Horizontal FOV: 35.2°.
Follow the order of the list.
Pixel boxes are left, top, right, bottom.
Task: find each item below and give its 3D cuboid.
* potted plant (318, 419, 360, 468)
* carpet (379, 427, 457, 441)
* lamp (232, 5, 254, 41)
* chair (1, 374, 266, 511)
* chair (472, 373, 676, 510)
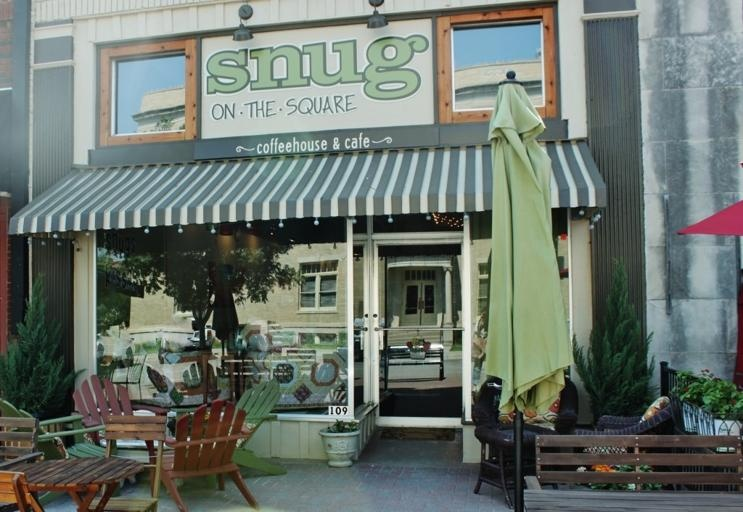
[{"bbox_3d":[-0.520,3.284,20.415,0.746,0.569,0.735,-1,0,-15],"label":"potted plant"},{"bbox_3d":[0.870,3.280,21.406,1.418,0.248,0.167,-2,-5,15],"label":"carpet"},{"bbox_3d":[-2.416,-4.450,21.737,0.351,0.721,0.264,-1,-5,0],"label":"lamp"},{"bbox_3d":[-3.649,2.980,18.118,2.867,1.502,1.780,0,-7,10],"label":"chair"},{"bbox_3d":[3.068,2.968,19.391,2.191,2.623,2.313,0,-26,5],"label":"chair"}]
